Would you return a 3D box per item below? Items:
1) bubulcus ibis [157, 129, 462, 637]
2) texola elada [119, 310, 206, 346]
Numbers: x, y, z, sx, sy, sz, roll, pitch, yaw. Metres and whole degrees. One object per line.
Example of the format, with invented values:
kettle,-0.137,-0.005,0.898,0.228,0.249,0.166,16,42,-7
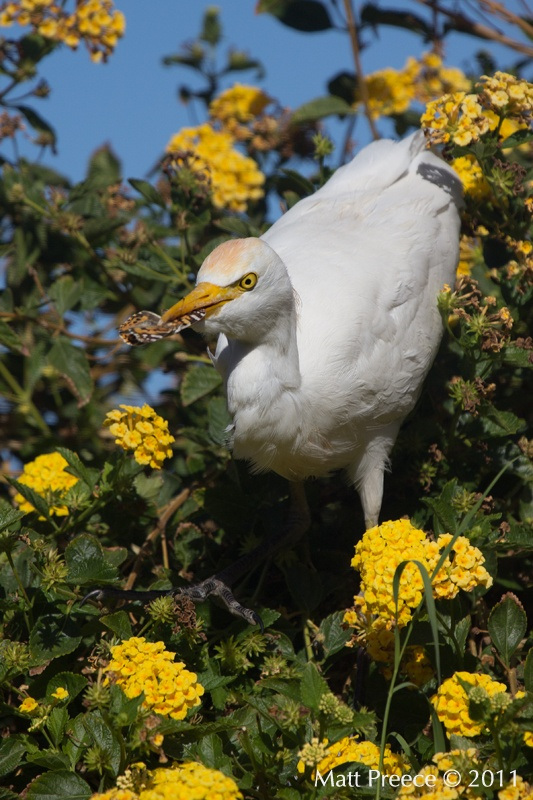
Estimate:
bubulcus ibis,0.101,-0.128,3.125,0.712,1.070,1.561,3,27,13
texola elada,-0.248,-0.179,2.418,0.212,0.086,0.110,2,11,4
